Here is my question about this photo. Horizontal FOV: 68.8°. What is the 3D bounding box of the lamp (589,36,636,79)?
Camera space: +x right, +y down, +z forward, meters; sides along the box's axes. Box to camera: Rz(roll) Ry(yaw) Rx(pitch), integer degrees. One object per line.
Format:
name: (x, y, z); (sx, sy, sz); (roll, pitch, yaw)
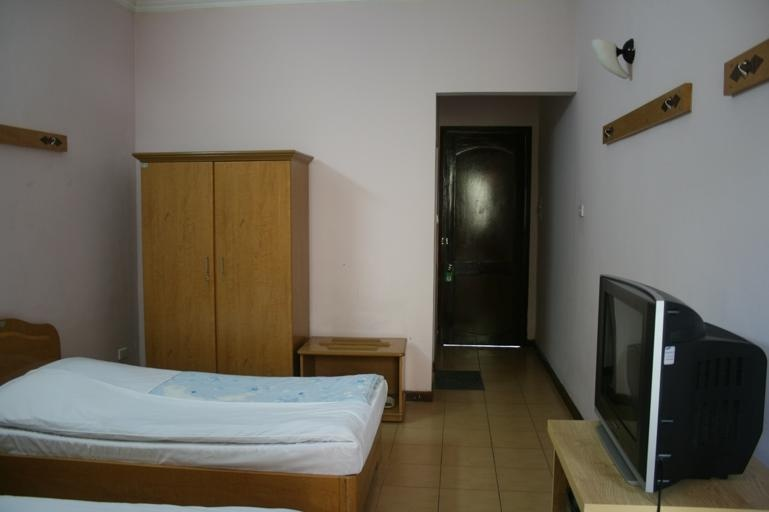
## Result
lamp: (1.628, -1.380, 3.836); (0.286, 0.300, 0.188); (21, 39, 29)

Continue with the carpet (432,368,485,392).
carpet: (0.755, 1.237, 5.692); (0.487, 0.041, 0.602); (4, 6, 6)

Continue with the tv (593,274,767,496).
tv: (1.389, 0.473, 3.107); (0.790, 1.117, 1.193); (-2, 1, 5)
